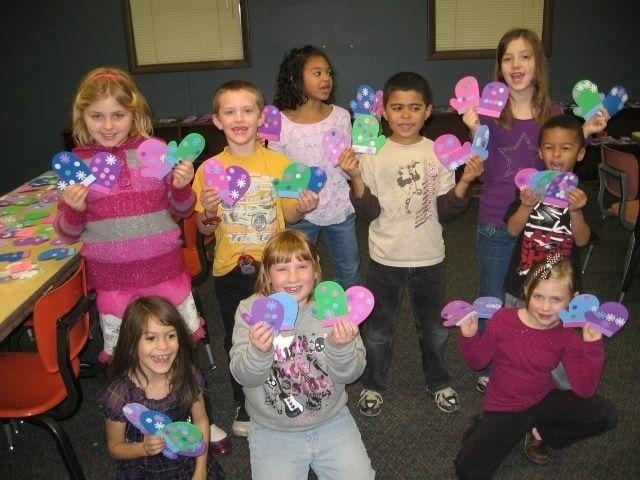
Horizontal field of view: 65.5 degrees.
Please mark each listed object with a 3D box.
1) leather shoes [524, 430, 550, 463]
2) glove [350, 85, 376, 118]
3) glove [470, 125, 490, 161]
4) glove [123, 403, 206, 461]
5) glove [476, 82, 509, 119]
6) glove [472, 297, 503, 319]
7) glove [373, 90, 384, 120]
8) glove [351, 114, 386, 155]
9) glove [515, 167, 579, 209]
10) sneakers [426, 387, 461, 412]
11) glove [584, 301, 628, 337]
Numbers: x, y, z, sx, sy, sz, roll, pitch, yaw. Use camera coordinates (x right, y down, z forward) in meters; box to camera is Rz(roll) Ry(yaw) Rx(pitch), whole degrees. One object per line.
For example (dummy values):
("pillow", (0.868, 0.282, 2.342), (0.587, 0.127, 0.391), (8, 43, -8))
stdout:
("leather shoes", (1.012, 0.963, 2.347), (0.089, 0.077, 0.221), (-3, 11, 11))
("glove", (0.223, -0.812, 2.828), (0.146, 0.197, 0.099), (-3, 56, 2))
("glove", (0.738, -0.454, 2.301), (0.138, 0.140, 0.033), (-52, 32, -18))
("glove", (-0.587, 0.686, 1.905), (0.315, 0.175, 0.054), (38, 12, -14))
("glove", (0.826, -0.670, 2.392), (0.143, 0.188, 0.020), (20, 12, 3))
("glove", (0.731, 0.294, 2.189), (0.121, 0.083, 0.032), (0, -8, -12))
("glove", (0.340, -0.749, 2.765), (0.034, 0.146, 0.083), (17, -18, -39))
("glove", (0.237, -0.505, 2.406), (0.159, 0.185, 0.151), (-1, 25, 5))
("glove", (1.002, -0.227, 2.241), (0.254, 0.191, 0.102), (4, 26, 15))
("sneakers", (0.656, 0.824, 2.562), (0.080, 0.055, 0.138), (-12, 14, -13))
("glove", (1.162, 0.335, 2.032), (0.183, 0.048, 0.201), (-2, 26, 46))
